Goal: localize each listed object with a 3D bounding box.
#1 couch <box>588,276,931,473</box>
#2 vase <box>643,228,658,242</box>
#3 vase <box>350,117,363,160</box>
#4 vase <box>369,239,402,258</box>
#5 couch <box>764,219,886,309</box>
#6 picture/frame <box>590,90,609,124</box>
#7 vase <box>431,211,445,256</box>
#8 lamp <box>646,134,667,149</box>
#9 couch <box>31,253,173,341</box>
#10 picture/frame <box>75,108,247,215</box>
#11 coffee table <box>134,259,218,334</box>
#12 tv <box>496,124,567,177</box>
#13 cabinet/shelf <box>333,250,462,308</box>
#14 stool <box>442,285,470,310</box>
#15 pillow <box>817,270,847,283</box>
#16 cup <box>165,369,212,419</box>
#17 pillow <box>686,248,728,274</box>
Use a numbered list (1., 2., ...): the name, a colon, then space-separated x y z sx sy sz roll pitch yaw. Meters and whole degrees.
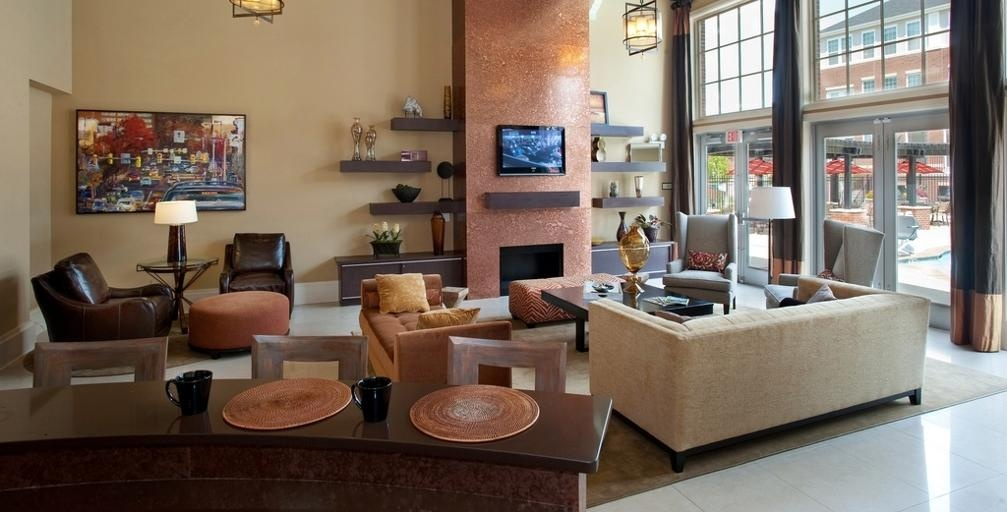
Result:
1. couch: 2.940 1.353 7.654 3.570 1.657 0.963 -4 13 -13
2. vase: 2.752 -0.401 12.313 0.348 0.300 0.314 0 3 17
3. vase: -2.500 -1.991 11.138 0.219 0.715 0.426 -3 13 -4
4. vase: -2.020 -0.134 11.299 0.514 0.206 0.323 -1 6 -4
5. couch: 4.604 0.290 9.559 1.499 1.296 1.176 -6 9 9
6. picture/frame: 1.699 -2.825 12.549 0.059 0.630 0.742 -26 30 -33
7. vase: -1.147 -0.396 11.377 0.196 0.706 0.313 -5 14 -12
8. lamp: 2.961 -2.233 12.757 0.399 0.303 0.353 1 -2 -8
9. couch: -5.571 0.596 9.222 1.838 0.877 1.817 14 11 38
10. picture/frame: -5.592 -1.535 10.467 2.289 1.202 0.042 -1 3 -19
11. coffee table: -5.057 0.514 10.189 1.079 0.737 1.055 -10 0 -40
12. tv: 0.458 -1.852 11.400 1.528 0.861 0.131 -9 16 -36
13. cabinet/shelf: -1.884 0.374 11.315 2.322 0.677 0.638 -4 -4 -32
14. stool: -0.731 0.597 9.644 0.373 0.299 0.359 -1 2 -37
15. pillow: 4.686 0.290 9.395 0.276 0.100 0.293 1 3 -8
16. cup: -2.821 1.218 5.851 0.461 0.253 0.295 0 6 -14
17. pillow: 3.342 0.083 10.884 0.655 0.291 0.425 3 13 21
